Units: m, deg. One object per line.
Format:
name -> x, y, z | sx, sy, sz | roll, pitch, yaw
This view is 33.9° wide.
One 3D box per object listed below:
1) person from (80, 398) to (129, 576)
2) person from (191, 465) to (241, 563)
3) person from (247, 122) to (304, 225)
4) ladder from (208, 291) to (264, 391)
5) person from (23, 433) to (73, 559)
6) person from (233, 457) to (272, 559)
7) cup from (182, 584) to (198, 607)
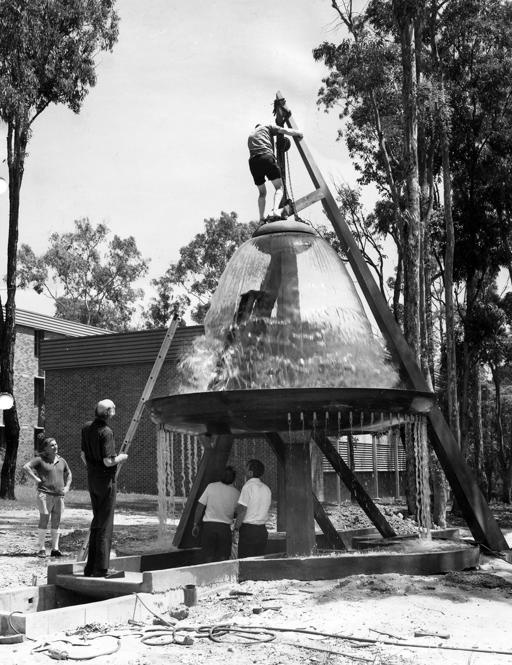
person -> -1.454, 1.485, 7.971 | 0.403, 1.178, 0.577 | -2, -1, -20
person -> -0.484, 2.246, 10.233 | 0.516, 1.743, 0.443 | 2, 24, -16
person -> 0.291, -2.388, 12.449 | 0.599, 1.783, 0.731 | -5, -18, -3
ladder -> -0.229, 0.134, 10.901 | 0.242, 1.496, 0.241 | 0, -35, 36
person -> -2.815, 2.207, 11.400 | 0.559, 1.060, 0.872 | -2, -1, -6
person -> -0.013, 2.019, 9.599 | 0.451, 0.903, 0.549 | -2, -1, -15
cup -> -0.594, 2.358, 7.555 | 0.095, 0.216, 0.149 | 5, -12, -19
